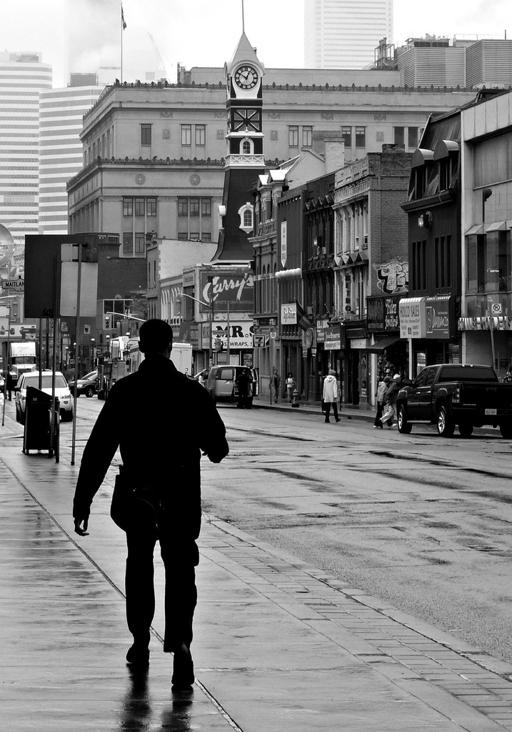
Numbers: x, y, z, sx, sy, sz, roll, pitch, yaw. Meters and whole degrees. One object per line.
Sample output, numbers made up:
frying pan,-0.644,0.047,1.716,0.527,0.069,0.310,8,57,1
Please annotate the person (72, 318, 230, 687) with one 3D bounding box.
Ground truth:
person,-0.529,0.618,8.167,0.707,1.595,0.709,-2,1,22

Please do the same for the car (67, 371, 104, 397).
car,-7.920,0.911,78.785,0.834,1.200,1.784,-2,-7,31

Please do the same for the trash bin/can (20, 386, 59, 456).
trash bin/can,-3.450,0.871,27.185,0.628,1.172,0.653,-2,2,-42

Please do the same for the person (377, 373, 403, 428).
person,3.469,0.821,44.299,0.357,1.447,0.399,12,38,13

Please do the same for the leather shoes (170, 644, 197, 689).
leather shoes,-0.337,1.277,7.681,0.086,0.288,0.098,-3,27,0

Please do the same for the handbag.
handbag,-0.609,0.678,8.133,0.269,0.360,0.197,-4,-4,44

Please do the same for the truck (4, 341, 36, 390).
truck,-11.694,0.051,83.045,1.471,3.978,6.215,0,-4,-9
